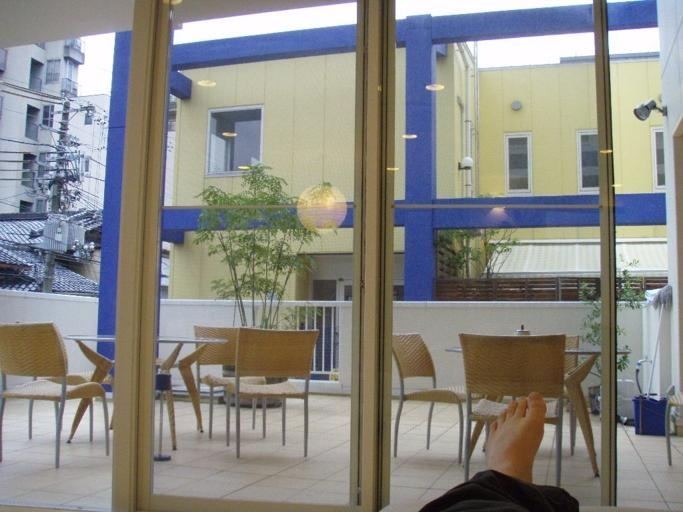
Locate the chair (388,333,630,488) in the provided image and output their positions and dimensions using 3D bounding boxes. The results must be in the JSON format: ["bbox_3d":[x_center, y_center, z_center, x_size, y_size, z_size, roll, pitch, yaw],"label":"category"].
[{"bbox_3d":[1.002,0.691,3.895,0.966,0.615,0.829,-1,-3,10],"label":"chair"}]
